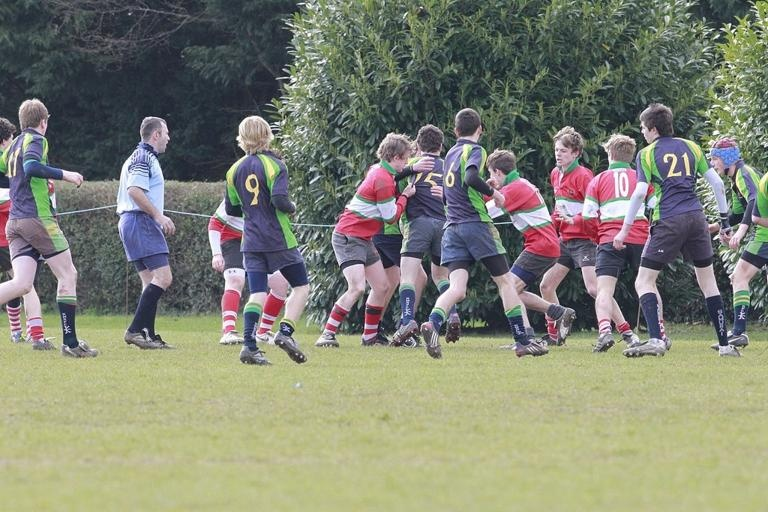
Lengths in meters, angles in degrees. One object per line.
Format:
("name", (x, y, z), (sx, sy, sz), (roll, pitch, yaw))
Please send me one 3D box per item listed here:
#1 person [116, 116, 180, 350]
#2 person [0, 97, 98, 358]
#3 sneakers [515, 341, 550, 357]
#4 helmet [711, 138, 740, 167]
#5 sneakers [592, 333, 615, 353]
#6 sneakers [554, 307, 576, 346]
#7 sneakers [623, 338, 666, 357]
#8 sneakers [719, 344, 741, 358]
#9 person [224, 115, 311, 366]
("person", (-3.195, -0.304, 16.391), (0.728, 3.150, 0.874), (0, 0, -13))
("person", (-4.439, -0.357, 15.797), (1.176, 3.331, 0.633), (0, 0, 19))
("sneakers", (1.933, 1.217, 15.715), (0.445, 0.208, 0.176), (-2, 0, -5))
("helmet", (4.797, -1.435, 17.039), (0.444, 0.450, 0.361), (2, 0, 20))
("sneakers", (2.957, 1.190, 16.239), (0.151, 0.182, 0.362), (-22, -19, -34))
("sneakers", (2.522, 0.980, 16.745), (0.261, 0.205, 0.597), (9, -45, 3))
("sneakers", (3.416, 1.219, 15.785), (0.594, 0.277, 0.222), (0, -12, -1))
("sneakers", (4.538, 1.263, 15.813), (0.244, 0.107, 0.135), (1, 0, -27))
("person", (-1.455, -0.187, 15.179), (1.018, 3.109, 0.553), (0, 0, -7))
